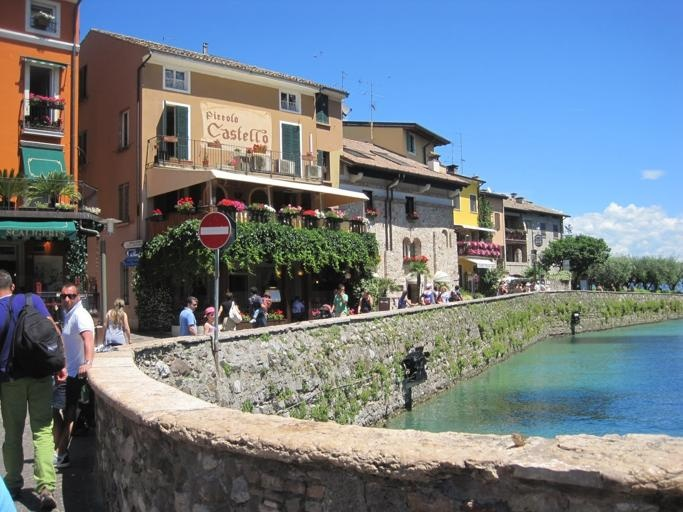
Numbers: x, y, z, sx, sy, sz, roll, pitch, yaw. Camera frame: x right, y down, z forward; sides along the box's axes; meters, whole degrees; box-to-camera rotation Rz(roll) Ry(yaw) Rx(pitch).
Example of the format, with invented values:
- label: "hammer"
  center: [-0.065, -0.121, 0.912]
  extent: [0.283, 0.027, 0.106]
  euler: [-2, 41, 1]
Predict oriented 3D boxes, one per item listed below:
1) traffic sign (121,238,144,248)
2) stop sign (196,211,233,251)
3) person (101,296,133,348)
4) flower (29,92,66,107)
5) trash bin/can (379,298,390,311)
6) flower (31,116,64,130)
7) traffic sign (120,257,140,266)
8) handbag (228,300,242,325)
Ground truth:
- label: "traffic sign"
  center: [-7.929, -0.475, 26.040]
  extent: [0.288, 0.381, 1.577]
  euler: [-1, -3, -35]
- label: "stop sign"
  center: [-1.985, -0.396, 10.704]
  extent: [0.629, 0.592, 0.214]
  euler: [-4, -3, 39]
- label: "person"
  center: [-3.960, 1.303, 11.809]
  extent: [0.383, 1.231, 0.398]
  euler: [7, 14, -18]
- label: "flower"
  center: [-10.355, -5.441, 24.026]
  extent: [1.169, 0.338, 0.281]
  euler: [0, -3, -40]
- label: "trash bin/can"
  center: [1.699, 1.897, 26.904]
  extent: [0.407, 0.576, 0.416]
  euler: [-1, -3, 40]
- label: "flower"
  center: [-10.377, -4.670, 23.959]
  extent: [1.049, 0.471, 0.228]
  euler: [-1, -2, -34]
- label: "traffic sign"
  center: [-7.959, 0.184, 25.783]
  extent: [0.425, 0.384, 1.531]
  euler: [-1, -2, -24]
- label: "handbag"
  center: [-2.671, 1.399, 17.058]
  extent: [0.280, 0.573, 0.416]
  euler: [-2, -2, -10]
